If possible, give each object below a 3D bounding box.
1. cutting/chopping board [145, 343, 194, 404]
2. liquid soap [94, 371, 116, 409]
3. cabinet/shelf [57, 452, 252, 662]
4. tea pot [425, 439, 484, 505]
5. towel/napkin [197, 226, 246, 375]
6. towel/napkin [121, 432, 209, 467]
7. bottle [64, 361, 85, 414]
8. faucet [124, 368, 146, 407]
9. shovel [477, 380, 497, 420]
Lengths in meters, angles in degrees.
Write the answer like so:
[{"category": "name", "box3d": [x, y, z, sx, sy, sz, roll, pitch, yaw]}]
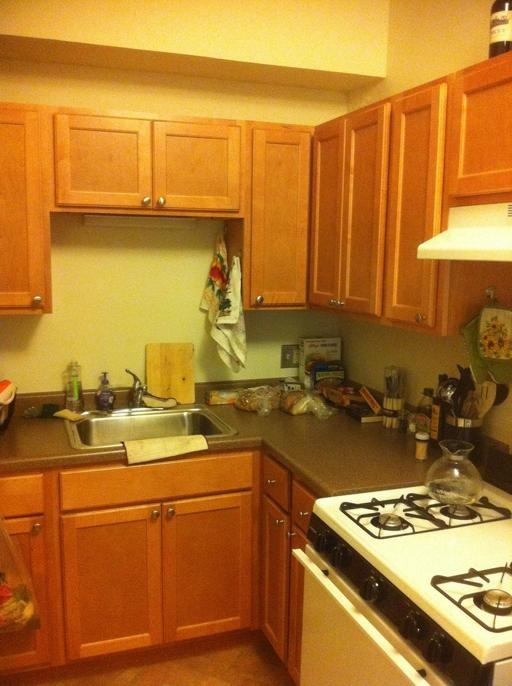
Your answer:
[{"category": "cutting/chopping board", "box3d": [-0.403, 0.144, 2.612, 0.275, 0.371, 0.042, -1, 2, -12]}, {"category": "liquid soap", "box3d": [-0.662, 0.209, 2.513, 0.086, 0.152, 0.137, -5, 9, -15]}, {"category": "cabinet/shelf", "box3d": [-0.384, 0.734, 2.058, 0.817, 0.771, 0.416, -2, 4, -22]}, {"category": "tea pot", "box3d": [0.524, 0.350, 1.611, 0.163, 0.167, 0.161, 2, -4, 0]}, {"category": "towel/napkin", "box3d": [-0.157, -0.154, 2.602, 0.188, 0.629, 0.314, -3, 8, -6]}, {"category": "towel/napkin", "box3d": [-0.326, 0.357, 2.018, 0.254, 0.074, 0.084, -5, 46, -20]}, {"category": "bottle", "box3d": [-0.784, 0.186, 2.465, 0.077, 0.197, 0.124, -5, 9, -16]}, {"category": "faucet", "box3d": [-0.533, 0.191, 2.551, 0.078, 0.167, 0.147, -5, 9, -14]}, {"category": "shovel", "box3d": [0.724, 0.178, 1.796, 0.026, 0.106, 0.076, 10, -2, -19]}]
